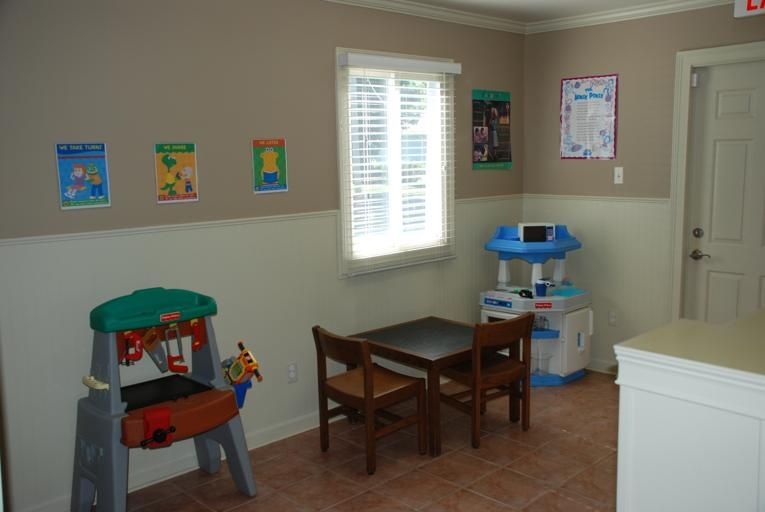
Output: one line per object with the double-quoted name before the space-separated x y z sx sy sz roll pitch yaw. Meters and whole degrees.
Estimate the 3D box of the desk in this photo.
"desk" 0.368 0.780 4.018 0.906 0.697 0.837 -7 8 -44
